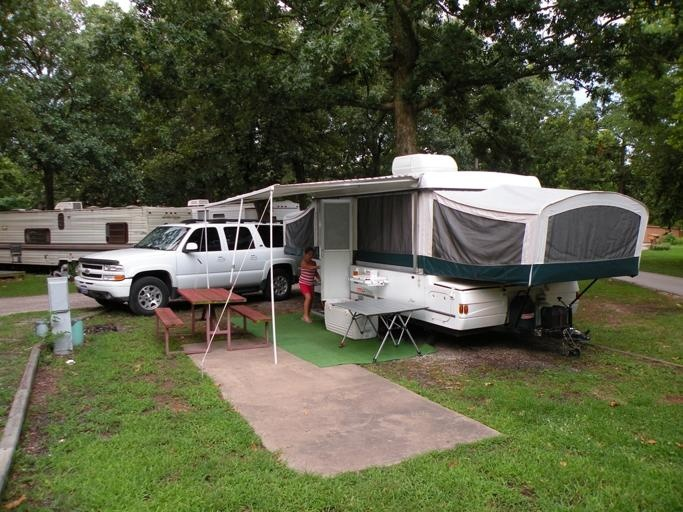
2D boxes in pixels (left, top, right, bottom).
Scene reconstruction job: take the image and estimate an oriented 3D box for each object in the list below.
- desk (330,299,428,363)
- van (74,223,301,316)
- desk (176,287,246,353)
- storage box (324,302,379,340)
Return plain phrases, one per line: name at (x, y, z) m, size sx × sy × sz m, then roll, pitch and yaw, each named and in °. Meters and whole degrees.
desk at (0.853, 1.456, 9.795) m, size 1.130 × 0.775 × 1.670 m, roll -3°, pitch -6°, yaw -10°
van at (-3.529, 0.204, 12.796) m, size 4.657 × 1.603 × 2.604 m, roll 0°, pitch 0°, yaw -36°
desk at (-2.391, 1.418, 9.762) m, size 1.029 × 0.881 × 2.044 m, roll -1°, pitch 5°, yaw -20°
storage box at (0.131, 1.262, 10.309) m, size 0.587 × 0.434 × 1.018 m, roll -2°, pitch 9°, yaw -31°
